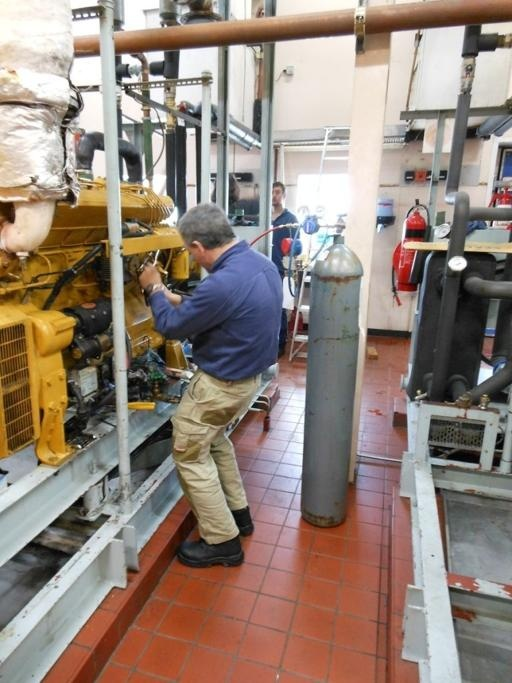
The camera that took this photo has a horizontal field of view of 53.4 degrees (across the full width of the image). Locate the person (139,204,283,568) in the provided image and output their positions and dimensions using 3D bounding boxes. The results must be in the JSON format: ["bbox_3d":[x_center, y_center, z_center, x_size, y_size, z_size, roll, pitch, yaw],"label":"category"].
[{"bbox_3d":[-0.181,0.223,2.285,0.610,1.615,0.396,-1,17,-12],"label":"person"}]
